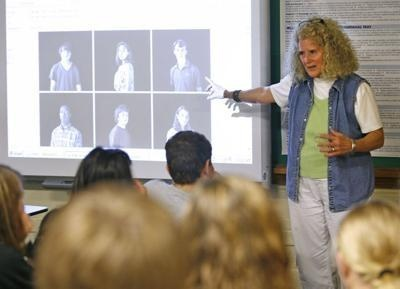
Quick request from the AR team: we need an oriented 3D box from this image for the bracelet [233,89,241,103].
[{"bbox_3d":[0.263,-0.341,3.019,0.064,0.057,0.074,2,-1,0],"label":"bracelet"}]
